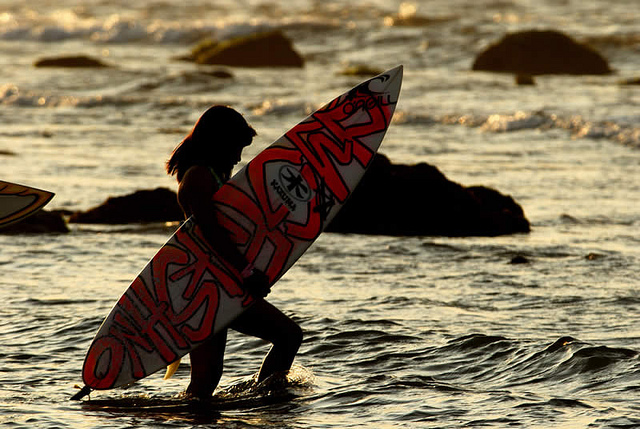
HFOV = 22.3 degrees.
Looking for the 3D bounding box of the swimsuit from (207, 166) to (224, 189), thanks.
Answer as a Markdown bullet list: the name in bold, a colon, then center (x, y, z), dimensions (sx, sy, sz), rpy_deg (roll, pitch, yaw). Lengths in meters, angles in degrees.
- **swimsuit**: center (-1.703, -0.588, 26.586), dimensions (0.308, 0.351, 0.116), rpy_deg (1, 8, -42)
